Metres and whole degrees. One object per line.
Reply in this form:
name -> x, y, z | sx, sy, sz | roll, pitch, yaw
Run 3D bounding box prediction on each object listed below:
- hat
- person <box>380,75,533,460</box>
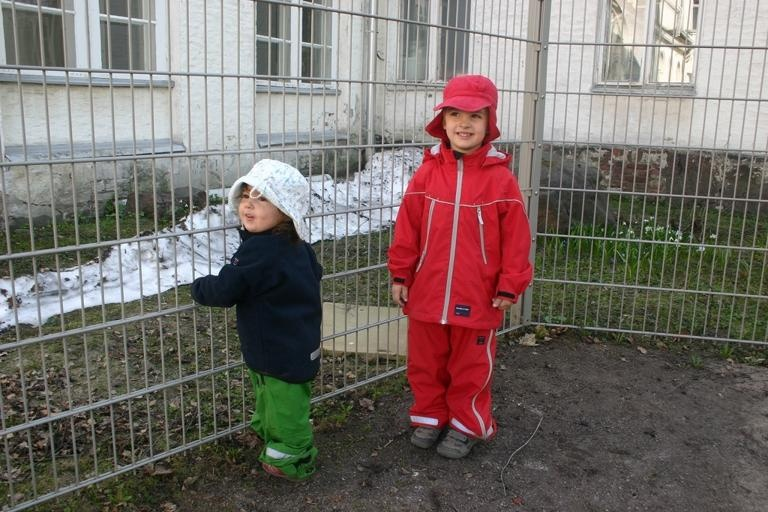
hat -> 0.571, -1.060, 3.672 | 0.427, 0.355, 0.638 | 3, 3, 23
person -> 0.492, 0.044, 3.631 | 0.854, 2.405, 0.698 | -8, 15, -22
